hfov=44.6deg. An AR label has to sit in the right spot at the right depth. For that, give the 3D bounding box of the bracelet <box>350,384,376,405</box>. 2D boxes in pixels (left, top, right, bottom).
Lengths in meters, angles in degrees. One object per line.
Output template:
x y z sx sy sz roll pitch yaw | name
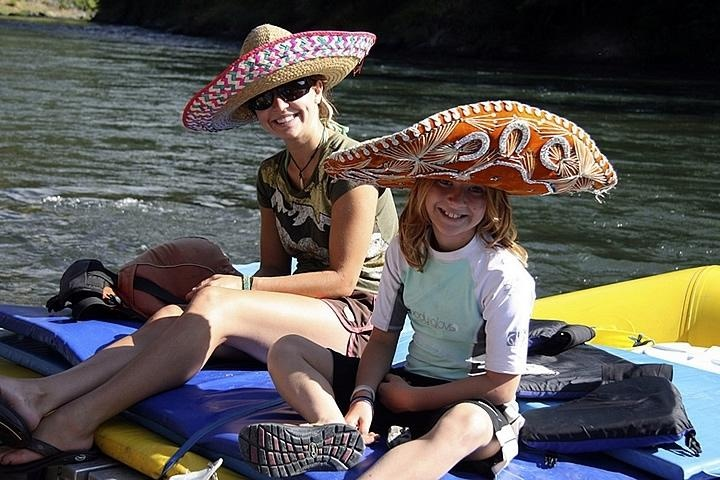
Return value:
0.012 0.946 5.349 0.144 0.086 0.123 3 -11 -15 | bracelet
